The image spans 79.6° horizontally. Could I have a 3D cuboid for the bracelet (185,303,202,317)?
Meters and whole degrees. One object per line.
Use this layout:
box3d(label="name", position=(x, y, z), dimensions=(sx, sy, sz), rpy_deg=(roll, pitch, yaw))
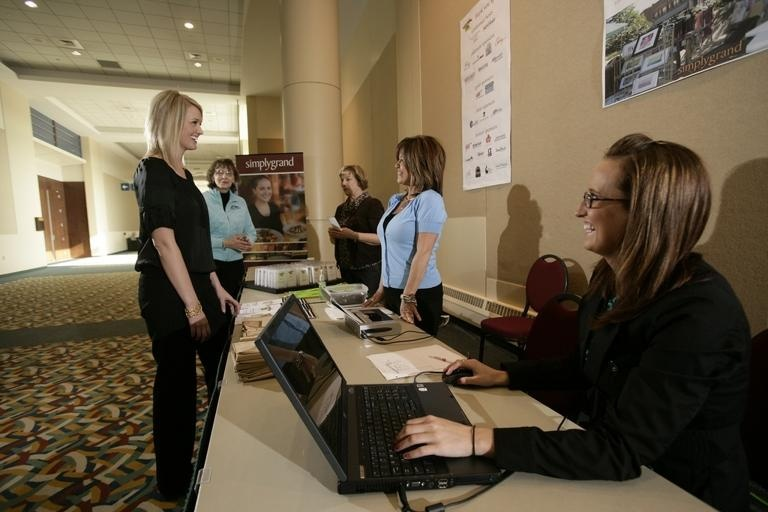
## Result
box3d(label="bracelet", position=(-0.995, 0.290, 2.407), dimensions=(0.061, 0.042, 0.078), rpy_deg=(2, 15, -17))
